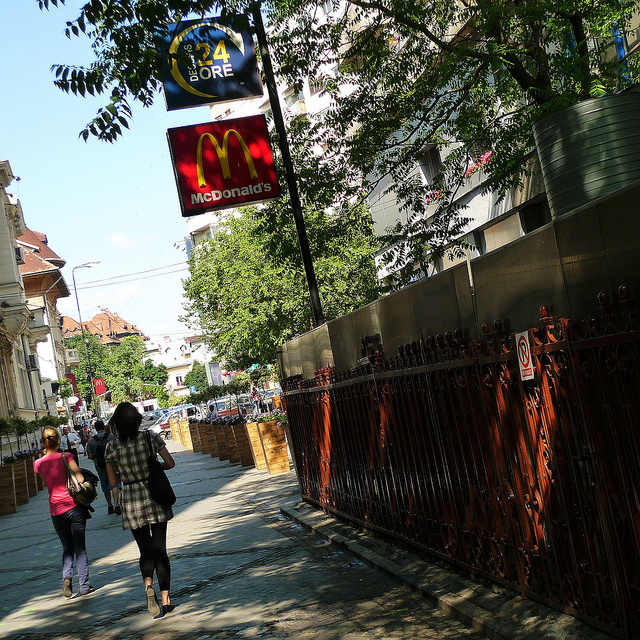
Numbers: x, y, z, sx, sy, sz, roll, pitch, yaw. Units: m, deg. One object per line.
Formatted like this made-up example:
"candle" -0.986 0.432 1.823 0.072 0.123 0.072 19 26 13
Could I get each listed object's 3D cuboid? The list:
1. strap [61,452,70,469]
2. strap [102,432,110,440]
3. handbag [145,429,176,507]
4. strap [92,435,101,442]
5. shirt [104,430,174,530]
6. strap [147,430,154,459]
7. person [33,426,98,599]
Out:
"strap" -3.194 1.788 7.030 0.038 0.200 0.110 -18 -2 -7
"strap" -5.375 2.978 14.121 0.136 0.258 0.126 4 -11 -8
"handbag" -1.570 1.479 5.441 0.229 0.784 0.368 -7 -6 -18
"strap" -5.600 3.023 14.062 0.126 0.133 0.034 6 46 38
"shirt" -1.776 1.534 5.447 0.525 1.048 0.337 -7 21 -11
"strap" -1.658 1.246 5.489 0.041 0.369 0.046 -8 5 -25
"person" -3.063 2.311 6.888 0.653 2.032 1.001 -5 -7 -37
